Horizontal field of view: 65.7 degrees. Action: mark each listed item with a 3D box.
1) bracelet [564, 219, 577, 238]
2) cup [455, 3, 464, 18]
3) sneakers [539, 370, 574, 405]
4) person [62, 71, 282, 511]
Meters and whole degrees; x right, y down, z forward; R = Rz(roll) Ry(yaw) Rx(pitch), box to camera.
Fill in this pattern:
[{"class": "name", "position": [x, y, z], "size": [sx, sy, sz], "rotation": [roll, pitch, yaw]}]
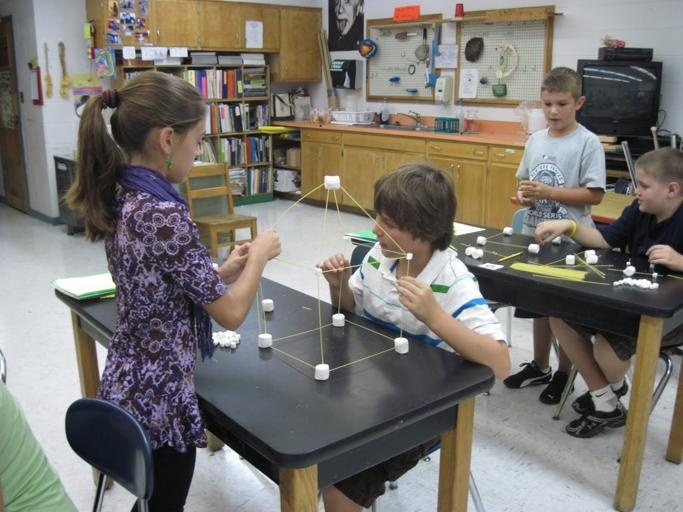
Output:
[{"class": "bracelet", "position": [1.167, -0.148, 2.694], "size": [0.069, 0.059, 0.071], "rotation": [1, 32, 41]}, {"class": "cup", "position": [1.371, -2.875, 6.173], "size": [0.099, 0.169, 0.150], "rotation": [2, 17, 8]}, {"class": "sneakers", "position": [1.197, 0.730, 2.994], "size": [0.090, 0.113, 0.273], "rotation": [16, 48, 45]}, {"class": "person", "position": [-0.450, 0.113, 1.524], "size": [0.540, 1.230, 0.348], "rotation": [-8, 18, -25]}]
